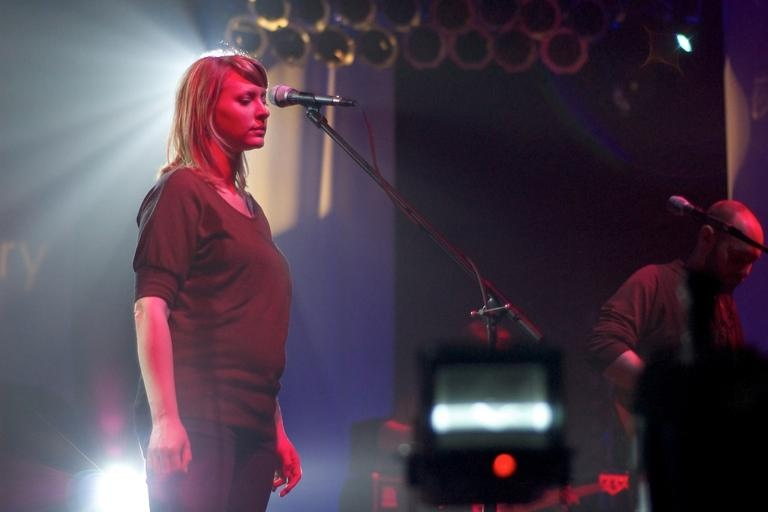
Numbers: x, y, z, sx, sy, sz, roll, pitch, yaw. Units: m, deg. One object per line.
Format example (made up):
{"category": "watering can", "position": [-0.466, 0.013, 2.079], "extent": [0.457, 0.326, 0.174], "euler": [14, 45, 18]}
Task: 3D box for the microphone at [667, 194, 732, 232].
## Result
{"category": "microphone", "position": [1.714, -0.229, 4.665], "extent": [0.341, 0.094, 0.092], "euler": [25, -4, 32]}
